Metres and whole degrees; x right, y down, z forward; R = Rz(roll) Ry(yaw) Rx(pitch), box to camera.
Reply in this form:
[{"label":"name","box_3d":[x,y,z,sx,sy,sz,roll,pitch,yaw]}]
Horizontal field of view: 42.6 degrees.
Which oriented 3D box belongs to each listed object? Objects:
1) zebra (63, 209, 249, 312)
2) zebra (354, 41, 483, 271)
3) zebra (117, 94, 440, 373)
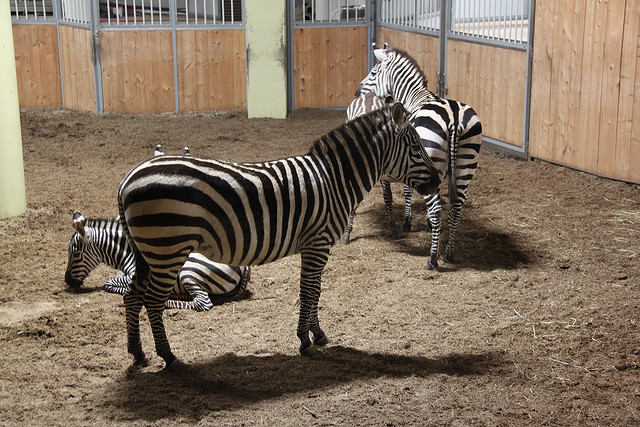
[{"label":"zebra","box_3d":[-1.961,0.643,9.806,2.067,1.117,0.821,8,-15,-9]},{"label":"zebra","box_3d":[1.284,-0.894,11.276,0.790,2.684,2.911,0,13,-18]},{"label":"zebra","box_3d":[-0.416,0.248,9.199,3.448,3.366,1.214,-1,24,-14]}]
